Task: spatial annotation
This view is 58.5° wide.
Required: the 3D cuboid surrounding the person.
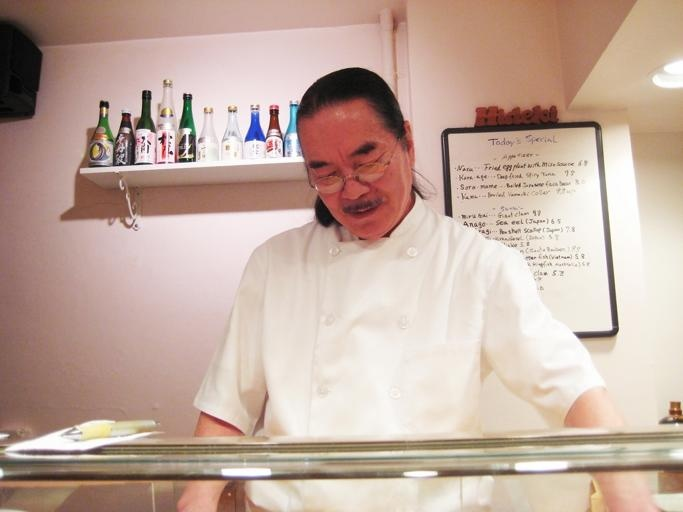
[{"bbox_3d":[0.126,-0.026,1.669,1.084,0.985,0.436,-3,8,13],"label":"person"}]
